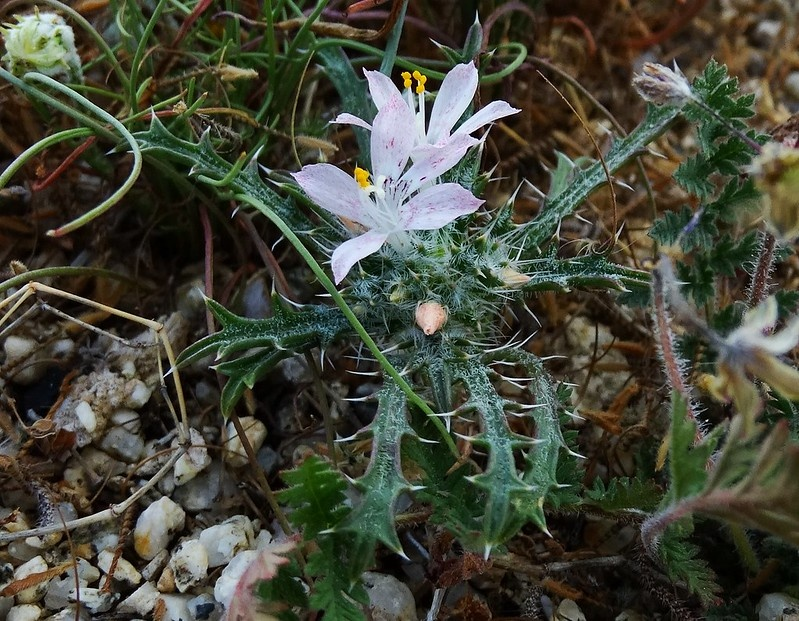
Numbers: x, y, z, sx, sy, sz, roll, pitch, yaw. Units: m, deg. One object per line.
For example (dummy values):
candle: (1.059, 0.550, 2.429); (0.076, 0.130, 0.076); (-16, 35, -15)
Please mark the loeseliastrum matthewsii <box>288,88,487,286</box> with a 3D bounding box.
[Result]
loeseliastrum matthewsii: (-0.021, -0.357, 2.590); (0.485, 0.211, 0.587); (21, 85, 25)
